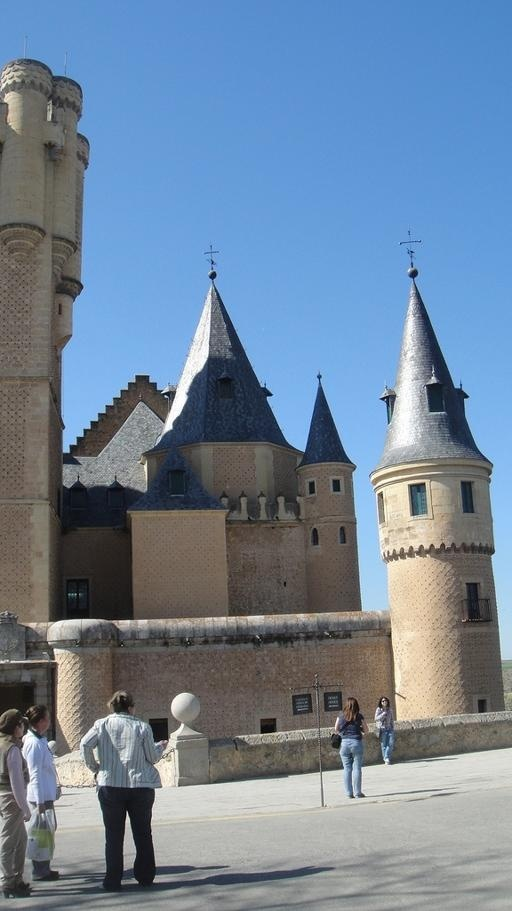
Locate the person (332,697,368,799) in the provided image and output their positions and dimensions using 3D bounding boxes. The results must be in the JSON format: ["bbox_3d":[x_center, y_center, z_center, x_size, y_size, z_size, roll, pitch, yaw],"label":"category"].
[{"bbox_3d":[1.106,3.462,12.745,0.386,1.134,0.888,-2,-11,4],"label":"person"}]

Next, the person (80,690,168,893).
[{"bbox_3d":[-0.967,2.382,7.672,0.567,1.344,0.407,-2,-11,1],"label":"person"}]

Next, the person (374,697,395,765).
[{"bbox_3d":[2.091,4.455,17.378,0.288,1.043,0.865,-3,-11,7],"label":"person"}]

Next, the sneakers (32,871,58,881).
[{"bbox_3d":[-1.572,3.141,8.006,0.191,0.054,0.144,1,-11,-12],"label":"sneakers"}]
